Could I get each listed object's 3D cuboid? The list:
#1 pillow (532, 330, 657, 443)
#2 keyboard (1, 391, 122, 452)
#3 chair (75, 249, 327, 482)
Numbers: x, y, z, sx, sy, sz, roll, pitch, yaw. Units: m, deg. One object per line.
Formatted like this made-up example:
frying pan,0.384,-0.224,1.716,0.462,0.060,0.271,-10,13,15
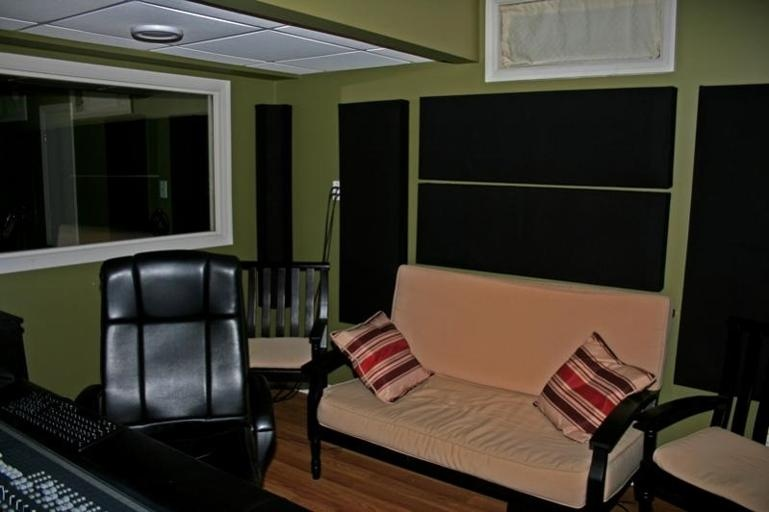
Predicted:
pillow,1.220,0.788,3.408,0.178,0.592,0.585,35,10,-29
keyboard,-1.236,0.614,2.156,0.500,0.082,0.170,4,11,26
chair,-1.052,0.550,3.004,1.019,1.119,0.503,1,10,14
